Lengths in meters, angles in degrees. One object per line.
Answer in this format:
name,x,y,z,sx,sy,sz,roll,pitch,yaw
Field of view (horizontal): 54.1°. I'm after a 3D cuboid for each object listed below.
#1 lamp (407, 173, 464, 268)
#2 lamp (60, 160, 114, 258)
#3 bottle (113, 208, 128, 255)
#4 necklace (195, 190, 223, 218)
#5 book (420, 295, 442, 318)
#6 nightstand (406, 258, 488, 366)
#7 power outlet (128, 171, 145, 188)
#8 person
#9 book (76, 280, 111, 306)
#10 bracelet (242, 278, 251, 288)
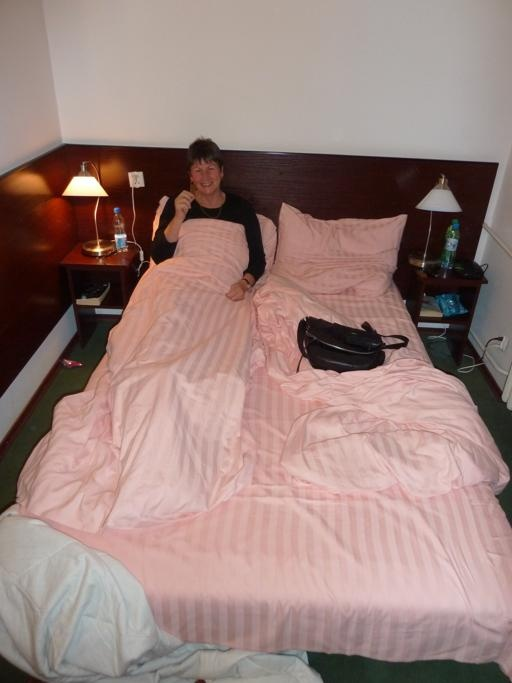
lamp,0.993,-0.652,2.772,0.240,0.509,0.411,14,31,19
lamp,-0.957,-0.761,2.845,0.242,0.501,0.370,-8,31,-19
bottle,-0.811,-0.666,2.981,0.079,0.244,0.243,-6,30,-15
necklace,-0.245,-0.743,2.721,0.140,0.160,0.108,-1,66,-2
book,1.031,-0.206,2.966,0.118,0.032,0.132,5,42,7
nightstand,1.104,-0.189,2.876,0.455,0.733,0.440,-1,42,10
power outlet,-0.689,-0.934,2.873,0.097,0.104,0.015,5,51,-5
person,-0.260,-0.645,2.688,0.558,0.805,0.491,-7,31,-10
book,-0.962,-0.275,2.949,0.123,0.042,0.175,0,33,4
bracelet,-0.056,-0.297,2.547,0.029,0.048,0.024,-3,34,7
